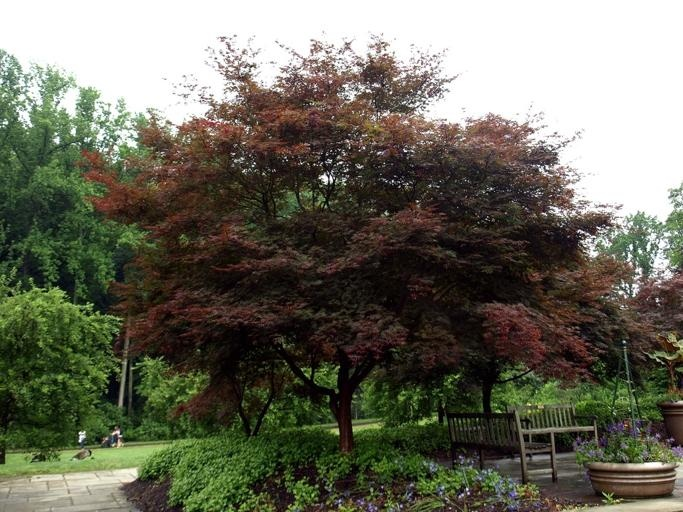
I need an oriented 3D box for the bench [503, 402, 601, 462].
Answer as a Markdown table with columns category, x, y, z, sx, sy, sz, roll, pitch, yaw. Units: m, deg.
| category | x | y | z | sx | sy | sz | roll | pitch | yaw |
| --- | --- | --- | --- | --- | --- | --- | --- | --- | --- |
| bench | 3.983 | 3.238 | 10.234 | 1.863 | 0.606 | 0.585 | 6 | -8 | -26 |
